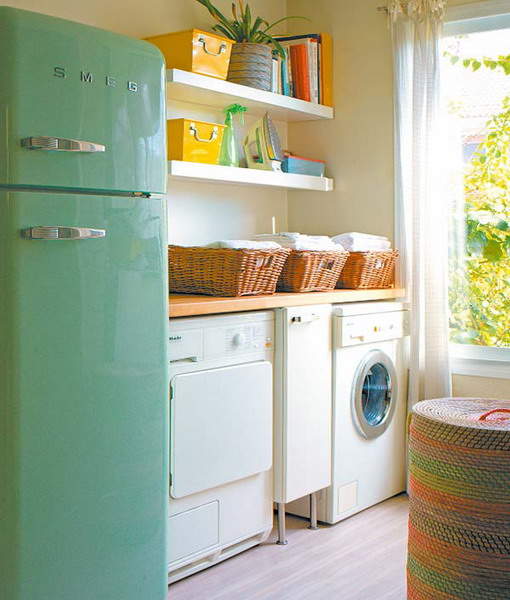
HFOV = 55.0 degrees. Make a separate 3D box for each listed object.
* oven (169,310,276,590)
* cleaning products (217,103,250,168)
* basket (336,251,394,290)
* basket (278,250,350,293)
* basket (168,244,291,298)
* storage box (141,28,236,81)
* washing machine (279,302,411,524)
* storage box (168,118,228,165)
[{"bbox_3d":[-0.234,0.525,2.024,0.575,0.976,0.546,-3,6,-14],"label":"oven"},{"bbox_3d":[-0.123,-0.871,2.520,0.090,0.237,0.091,-6,0,-17],"label":"cleaning products"},{"bbox_3d":[0.615,-0.153,2.637,0.265,0.145,0.188,-2,2,-36],"label":"basket"},{"bbox_3d":[0.291,-0.198,2.401,0.345,0.208,0.283,1,14,6],"label":"basket"},{"bbox_3d":[-0.137,-0.116,2.069,0.347,0.171,0.265,-1,-1,34],"label":"basket"},{"bbox_3d":[-0.256,-1.100,2.233,0.318,0.172,0.273,8,12,40],"label":"storage box"},{"bbox_3d":[0.468,0.527,2.636,0.611,1.035,0.499,-1,1,-42],"label":"washing machine"},{"bbox_3d":[-0.286,-0.730,2.295,0.157,0.181,0.246,17,18,42],"label":"storage box"}]
